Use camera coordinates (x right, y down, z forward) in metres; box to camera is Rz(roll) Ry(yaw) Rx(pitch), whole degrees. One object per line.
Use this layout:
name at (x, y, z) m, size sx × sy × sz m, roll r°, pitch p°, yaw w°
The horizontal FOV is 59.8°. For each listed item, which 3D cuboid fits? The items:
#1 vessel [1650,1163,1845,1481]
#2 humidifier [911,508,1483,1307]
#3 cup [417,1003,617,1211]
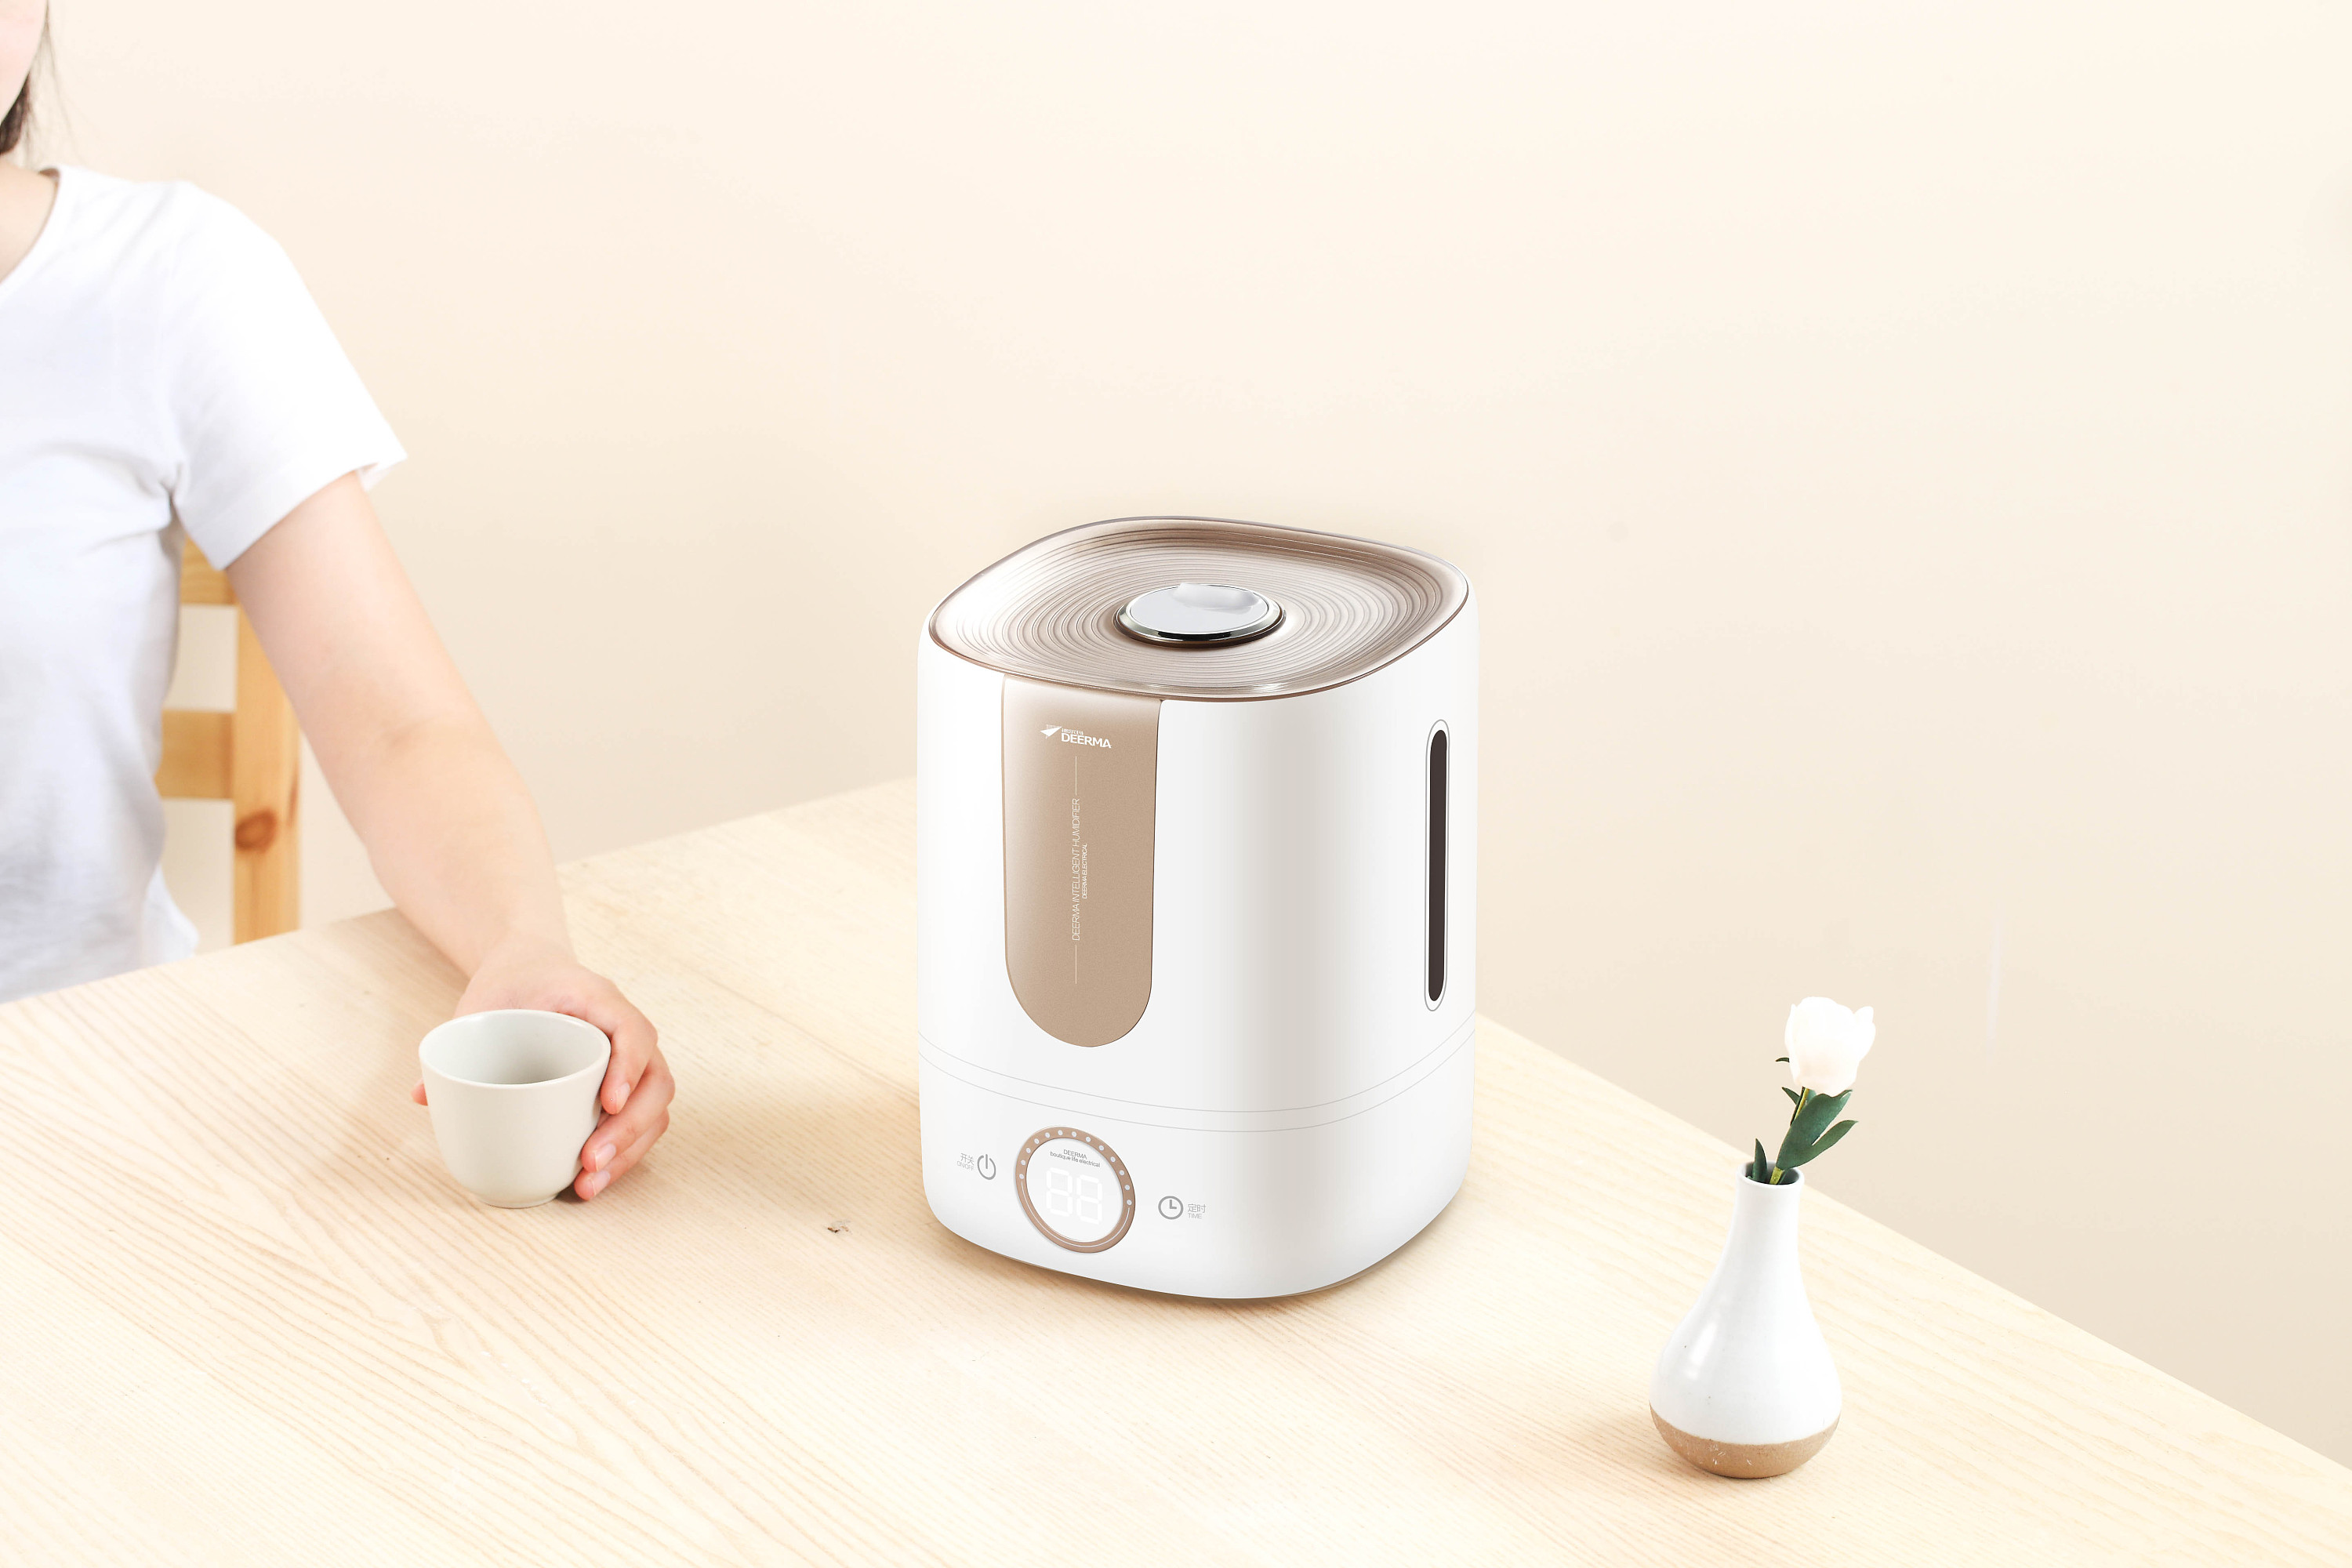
vessel at (0.279, 0.262, 0.982) m, size 0.085 × 0.147 × 0.047 m, roll 9°, pitch 23°, yaw 16°
humidifier at (0.079, 0.050, 1.224) m, size 0.401 × 0.430 × 0.387 m, roll 4°, pitch 13°, yaw 17°
cup at (-0.364, 0.178, 1.177) m, size 0.121 × 0.081 × 0.110 m, roll 5°, pitch 18°, yaw -2°
